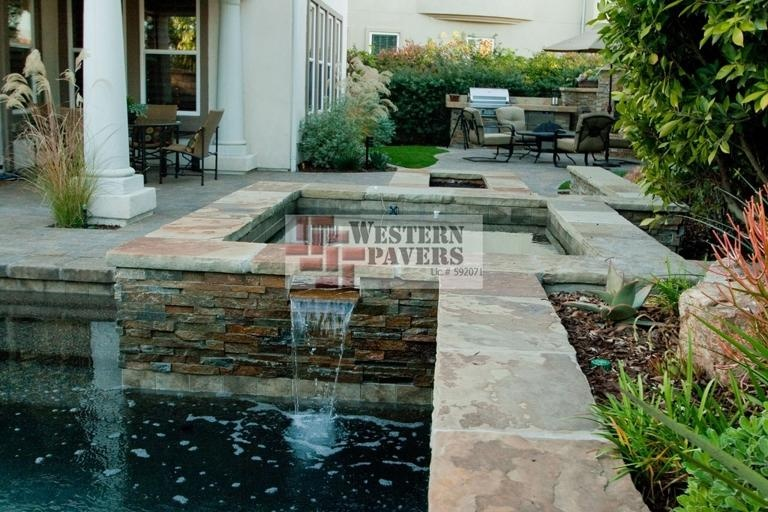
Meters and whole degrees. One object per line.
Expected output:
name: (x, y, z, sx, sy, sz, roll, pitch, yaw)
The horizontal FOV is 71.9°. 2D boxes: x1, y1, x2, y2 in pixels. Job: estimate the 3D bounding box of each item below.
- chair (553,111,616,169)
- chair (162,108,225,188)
chair: (4.747, -2.758, 12.657, 1.122, 1.209, 1.340, 0, 13, 2)
chair: (-3.323, -1.882, 9.103, 1.095, 1.055, 0.844, 1, 16, 9)
